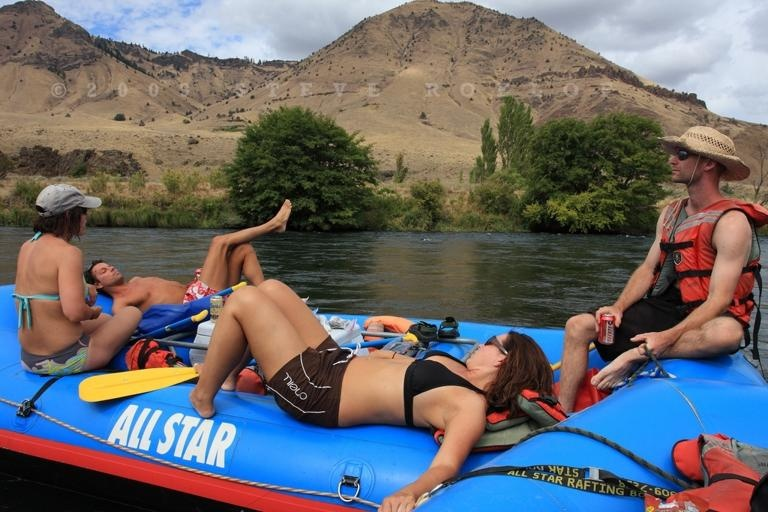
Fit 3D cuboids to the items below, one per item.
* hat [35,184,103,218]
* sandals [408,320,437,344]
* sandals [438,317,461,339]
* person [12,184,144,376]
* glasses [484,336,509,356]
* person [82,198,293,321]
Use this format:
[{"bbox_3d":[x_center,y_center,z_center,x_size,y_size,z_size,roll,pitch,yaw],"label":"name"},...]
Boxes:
[{"bbox_3d":[-2.607,-0.469,5.857,0.503,0.207,0.294,-5,14,-37],"label":"hat"},{"bbox_3d":[0.344,0.691,6.477,0.217,0.079,0.181,9,8,36],"label":"sandals"},{"bbox_3d":[0.612,0.678,6.624,0.226,0.177,0.193,0,-7,7],"label":"sandals"},{"bbox_3d":[-2.643,0.202,6.079,1.181,1.465,1.219,5,8,-6],"label":"person"},{"bbox_3d":[0.821,0.631,5.064,0.149,0.042,0.121,34,-8,3],"label":"glasses"},{"bbox_3d":[-1.878,0.232,7.107,2.232,0.844,0.942,-15,3,4],"label":"person"}]
